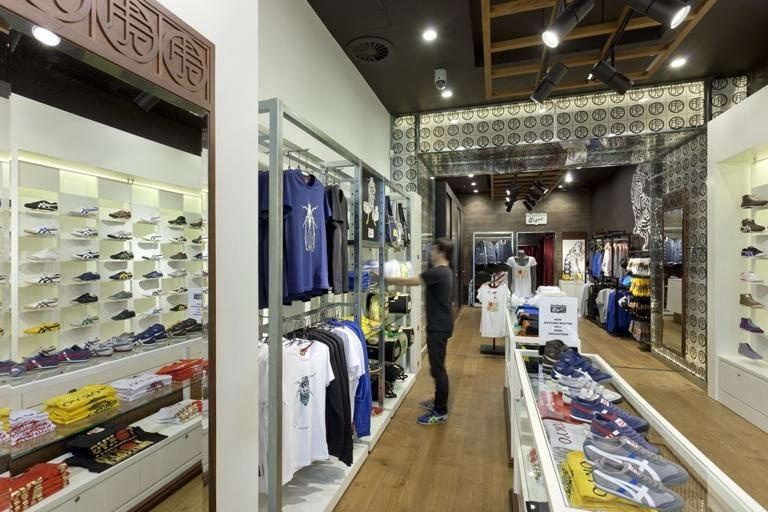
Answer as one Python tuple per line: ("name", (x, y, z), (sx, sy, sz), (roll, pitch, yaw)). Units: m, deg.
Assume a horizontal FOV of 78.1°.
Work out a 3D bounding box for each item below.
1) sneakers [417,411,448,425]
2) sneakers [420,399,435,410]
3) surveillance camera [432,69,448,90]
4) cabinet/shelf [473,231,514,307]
("sneakers", (0.446, 1.529, 4.464), (0.284, 0.127, 0.113), (3, -8, -4))
("sneakers", (0.434, 1.508, 4.748), (0.162, 0.069, 0.060), (3, 2, 21))
("surveillance camera", (0.619, -1.961, 5.258), (0.194, 0.289, 0.161), (0, 13, -2))
("cabinet/shelf", (2.764, 0.341, 12.215), (1.074, 1.925, 0.728), (1, 4, 11))
